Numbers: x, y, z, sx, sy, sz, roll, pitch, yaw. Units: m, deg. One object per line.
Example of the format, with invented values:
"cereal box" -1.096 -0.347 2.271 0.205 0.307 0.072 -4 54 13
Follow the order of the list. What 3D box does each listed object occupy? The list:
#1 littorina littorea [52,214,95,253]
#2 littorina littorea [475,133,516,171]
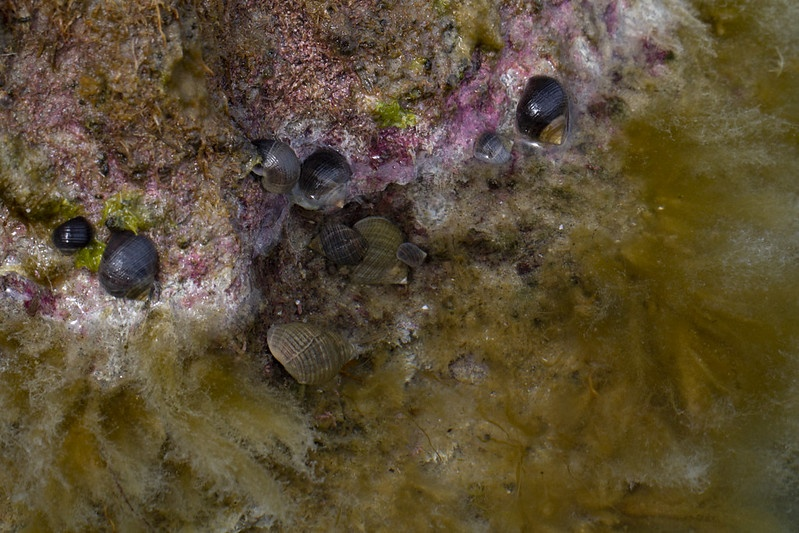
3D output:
"littorina littorea" -3.281 -0.315 9.499 0.424 0.143 0.303 -27 84 -3
"littorina littorea" 1.018 -1.289 10.179 0.432 0.204 0.350 5 83 1
